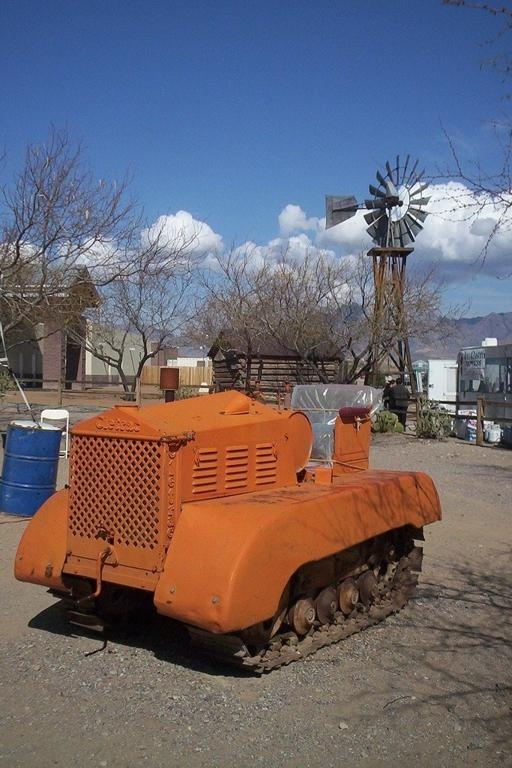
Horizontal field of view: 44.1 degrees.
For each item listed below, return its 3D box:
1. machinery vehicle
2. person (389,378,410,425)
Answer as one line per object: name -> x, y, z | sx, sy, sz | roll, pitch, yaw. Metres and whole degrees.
machinery vehicle -> 0.139, 0.766, 4.437 | 1.639, 1.428, 2.799 | 1, 3, 37
person -> 4.339, 0.534, 18.961 | 0.546, 1.606, 0.501 | -1, 24, 9
